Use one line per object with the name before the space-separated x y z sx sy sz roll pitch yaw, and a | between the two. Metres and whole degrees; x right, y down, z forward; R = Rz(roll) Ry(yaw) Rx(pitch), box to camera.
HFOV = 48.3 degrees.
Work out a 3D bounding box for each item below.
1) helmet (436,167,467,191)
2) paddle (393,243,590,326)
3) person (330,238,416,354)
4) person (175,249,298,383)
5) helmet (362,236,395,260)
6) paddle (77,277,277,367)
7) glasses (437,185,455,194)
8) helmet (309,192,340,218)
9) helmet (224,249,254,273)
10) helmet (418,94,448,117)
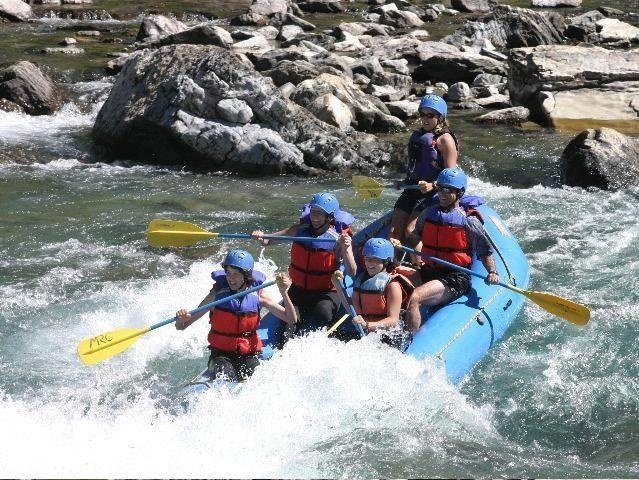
helmet | 1.397 -0.654 7.714 0.311 0.231 0.221 33 -16 -35
paddle | 1.871 0.529 8.035 2.324 0.232 0.214 19 29 10
person | 0.561 0.510 7.424 0.822 1.118 0.841 0 17 6
person | -0.800 0.709 7.133 1.097 1.207 0.643 -16 22 -39
helmet | 0.589 0.071 7.294 0.228 0.148 0.287 14 16 43
paddle | -1.578 0.932 7.796 2.165 0.147 0.267 -21 20 -1
glasses | 1.329 -0.540 7.596 0.108 0.030 0.102 5 -13 17
helmet | 0.023 -0.394 7.673 0.236 0.268 0.239 11 36 41
helmet | -0.825 0.206 7.102 0.300 0.214 0.331 -4 16 -9
helmet | 1.343 -1.633 8.527 0.248 0.222 0.343 8 -6 46
